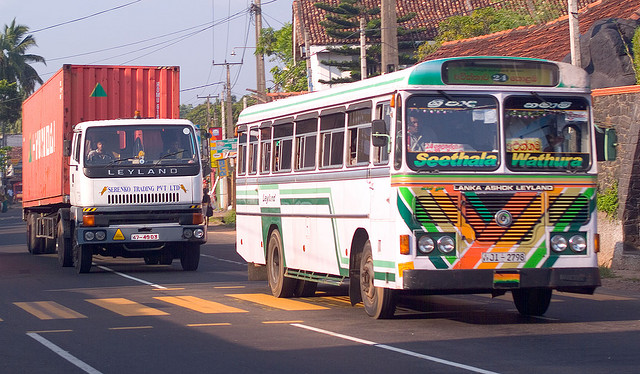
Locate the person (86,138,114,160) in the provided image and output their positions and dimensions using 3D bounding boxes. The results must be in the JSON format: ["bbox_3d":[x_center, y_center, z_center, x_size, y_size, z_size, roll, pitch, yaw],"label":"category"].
[{"bbox_3d":[-6.522,-1.086,23.995,0.584,0.679,0.217,-1,1,-1],"label":"person"}]
